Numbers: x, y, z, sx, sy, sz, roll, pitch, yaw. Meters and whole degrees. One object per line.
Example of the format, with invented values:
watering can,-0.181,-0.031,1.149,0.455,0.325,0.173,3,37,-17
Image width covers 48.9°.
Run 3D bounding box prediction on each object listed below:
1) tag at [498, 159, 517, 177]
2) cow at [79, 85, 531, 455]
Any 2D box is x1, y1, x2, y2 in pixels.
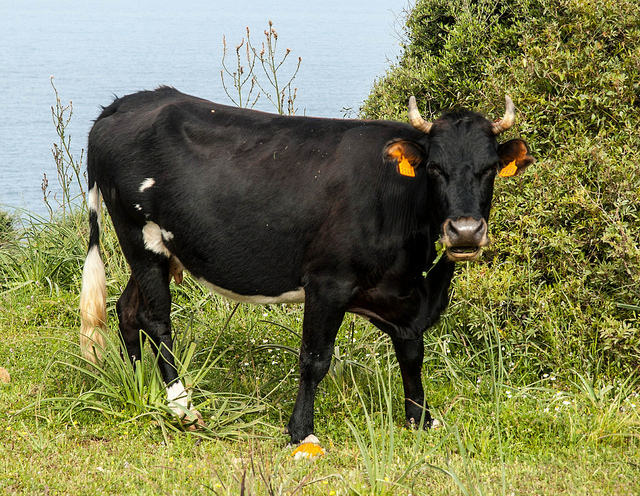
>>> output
tag,1.510,-0.616,5.669,0.080,0.144,0.146,37,50,-4
cow,-0.110,0.288,5.951,3.009,2.388,1.197,4,4,15
